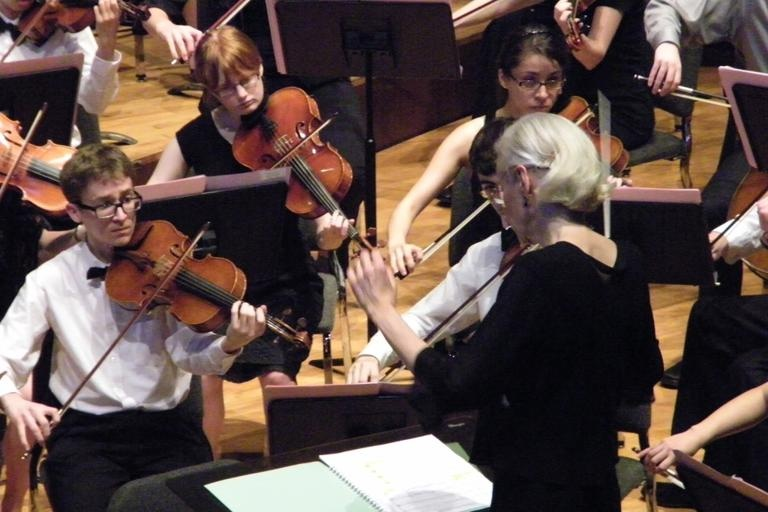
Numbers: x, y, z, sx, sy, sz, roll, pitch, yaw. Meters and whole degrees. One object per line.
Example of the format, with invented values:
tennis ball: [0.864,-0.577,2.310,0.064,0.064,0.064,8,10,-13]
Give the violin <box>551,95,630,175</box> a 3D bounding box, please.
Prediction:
violin: [0.729,-0.415,2.619,0.232,0.283,0.653,0,13,17]

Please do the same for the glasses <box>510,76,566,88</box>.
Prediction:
glasses: [0.520,-0.573,2.484,0.166,0.038,0.048,-8,14,-19]

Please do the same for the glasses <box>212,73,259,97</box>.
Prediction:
glasses: [-0.497,-0.576,2.538,0.160,0.070,0.068,-6,13,-13]

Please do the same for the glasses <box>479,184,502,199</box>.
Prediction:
glasses: [0.268,-0.153,1.832,0.047,0.022,0.063,-2,14,1]

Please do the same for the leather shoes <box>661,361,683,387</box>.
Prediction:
leather shoes: [1.137,0.463,2.968,0.066,0.094,0.167,2,14,24]

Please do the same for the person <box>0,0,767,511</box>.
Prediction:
person: [-0.027,-0.027,2.215,1.804,0.422,1.185,-2,53,4]
